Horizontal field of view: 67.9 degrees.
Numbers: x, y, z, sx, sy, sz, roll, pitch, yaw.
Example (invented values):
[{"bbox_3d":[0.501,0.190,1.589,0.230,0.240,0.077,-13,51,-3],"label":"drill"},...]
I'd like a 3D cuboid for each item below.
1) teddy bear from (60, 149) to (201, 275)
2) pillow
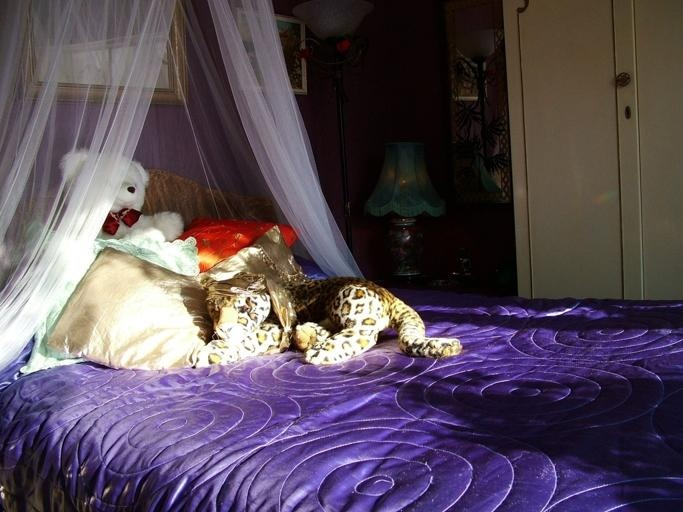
[{"bbox_3d":[-0.935,-0.174,2.251,0.497,0.681,0.516,-9,6,-28],"label":"teddy bear"},{"bbox_3d":[-0.422,-0.015,2.386,0.445,0.123,0.429,26,19,38],"label":"pillow"}]
